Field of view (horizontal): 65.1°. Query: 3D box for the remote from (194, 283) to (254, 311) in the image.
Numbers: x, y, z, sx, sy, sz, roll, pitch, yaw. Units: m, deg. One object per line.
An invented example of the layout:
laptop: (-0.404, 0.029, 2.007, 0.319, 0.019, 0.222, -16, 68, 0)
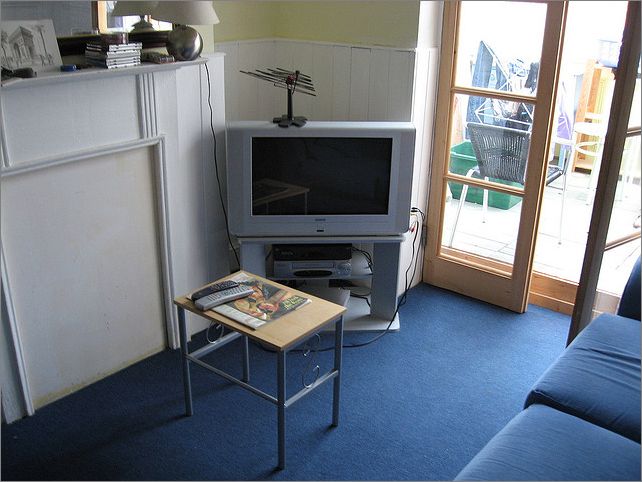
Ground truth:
remote: (-0.495, 0.253, 2.568, 0.246, 0.036, 0.117, -21, 32, -40)

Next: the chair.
chair: (1.482, -0.445, 3.908, 0.829, 0.967, 0.814, 8, 24, 22)

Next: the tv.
tv: (-0.002, -0.489, 3.550, 1.286, 0.823, 0.674, 0, 22, 1)

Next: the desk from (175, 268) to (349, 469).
desk: (-0.333, 0.656, 2.734, 0.744, 0.697, 0.543, 15, 21, 34)

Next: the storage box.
storage box: (1.209, -0.531, 3.843, 0.554, 0.352, 0.386, 12, 31, 22)

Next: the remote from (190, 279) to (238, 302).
remote: (-0.570, 0.250, 2.625, 0.185, 0.038, 0.096, -19, 28, -36)

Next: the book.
book: (-0.404, 0.318, 2.716, 0.382, 0.015, 0.294, 19, 29, 34)
